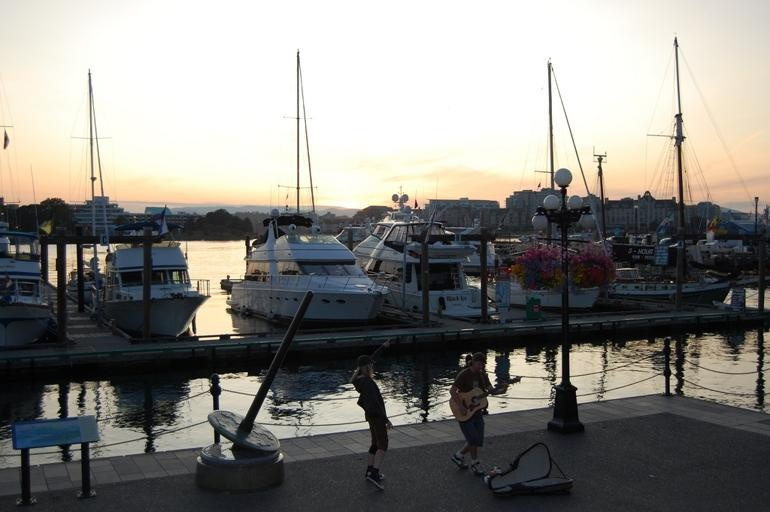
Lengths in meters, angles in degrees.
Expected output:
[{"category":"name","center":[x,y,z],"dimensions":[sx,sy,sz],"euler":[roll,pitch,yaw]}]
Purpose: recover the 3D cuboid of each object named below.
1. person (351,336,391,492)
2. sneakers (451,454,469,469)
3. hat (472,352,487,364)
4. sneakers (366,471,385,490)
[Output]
[{"category":"person","center":[-0.297,3.929,20.637],"dimensions":[0.869,3.077,0.374],"euler":[6,8,37]},{"category":"sneakers","center":[1.860,5.092,21.399],"dimensions":[0.491,0.230,0.216],"euler":[7,7,23]},{"category":"hat","center":[2.351,2.493,21.244],"dimensions":[0.299,0.356,0.363],"euler":[-3,1,-12]},{"category":"sneakers","center":[-0.323,5.324,20.584],"dimensions":[0.609,0.272,0.202],"euler":[4,2,4]}]
